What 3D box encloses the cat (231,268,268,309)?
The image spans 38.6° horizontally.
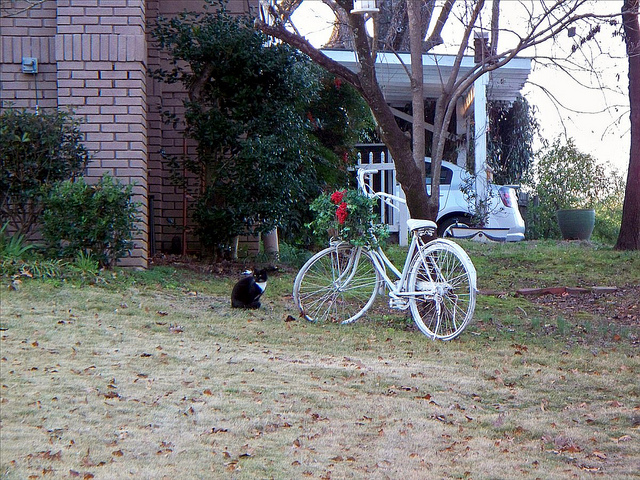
[{"bbox_3d":[-0.830,0.549,10.957,0.460,0.559,0.357,1,24,1],"label":"cat"}]

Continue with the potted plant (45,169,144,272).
[{"bbox_3d":[-2.946,-0.204,11.819,1.234,1.171,1.056,-2,15,-19],"label":"potted plant"}]

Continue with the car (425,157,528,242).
[{"bbox_3d":[2.804,-0.707,16.667,2.018,1.239,1.304,0,0,4],"label":"car"}]

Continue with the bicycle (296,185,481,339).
[{"bbox_3d":[0.832,0.208,10.635,2.270,1.738,0.985,2,8,36],"label":"bicycle"}]

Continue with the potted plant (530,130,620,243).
[{"bbox_3d":[5.386,-1.000,19.871,1.941,3.010,1.891,1,-9,-10],"label":"potted plant"}]

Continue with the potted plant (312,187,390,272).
[{"bbox_3d":[0.378,-0.247,10.994,0.754,1.035,0.953,-1,16,6],"label":"potted plant"}]
